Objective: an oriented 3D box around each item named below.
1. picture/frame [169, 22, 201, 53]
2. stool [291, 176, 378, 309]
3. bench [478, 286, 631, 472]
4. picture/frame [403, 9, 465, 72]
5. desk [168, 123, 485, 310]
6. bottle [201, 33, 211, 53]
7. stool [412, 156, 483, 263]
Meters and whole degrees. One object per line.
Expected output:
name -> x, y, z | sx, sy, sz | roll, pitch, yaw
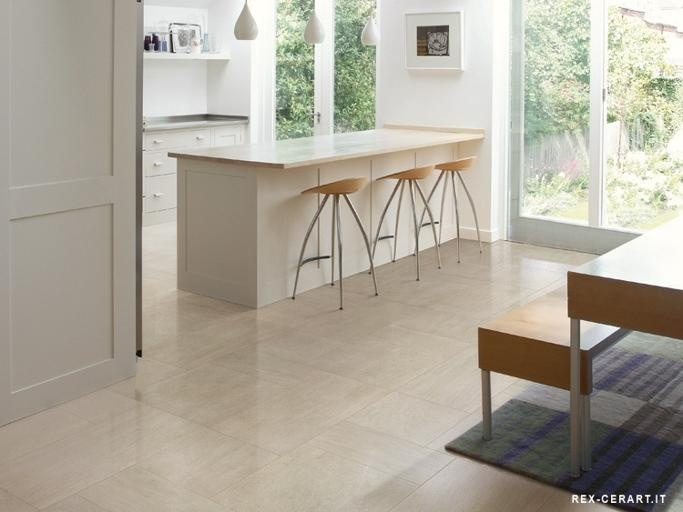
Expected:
picture/frame -> -2.268, -3.072, 7.336 | 0.081, 0.419, 0.554 | 4, 10, 35
stool -> 0.007, -0.188, 4.468 | 0.731, 1.019, 0.712 | -14, 10, -41
bench -> 0.970, 0.320, 2.418 | 0.563, 0.528, 1.069 | 6, 11, 35
picture/frame -> 1.125, -2.558, 6.138 | 0.756, 0.704, 0.076 | 4, 7, 32
desk -> -0.247, -0.449, 5.080 | 1.148, 1.293, 2.583 | 14, 23, 42
bottle -> -2.045, -3.147, 7.681 | 0.117, 0.261, 0.174 | -4, 16, -7
stool -> 1.312, -0.597, 5.978 | 0.703, 1.043, 0.725 | -13, 12, -10
